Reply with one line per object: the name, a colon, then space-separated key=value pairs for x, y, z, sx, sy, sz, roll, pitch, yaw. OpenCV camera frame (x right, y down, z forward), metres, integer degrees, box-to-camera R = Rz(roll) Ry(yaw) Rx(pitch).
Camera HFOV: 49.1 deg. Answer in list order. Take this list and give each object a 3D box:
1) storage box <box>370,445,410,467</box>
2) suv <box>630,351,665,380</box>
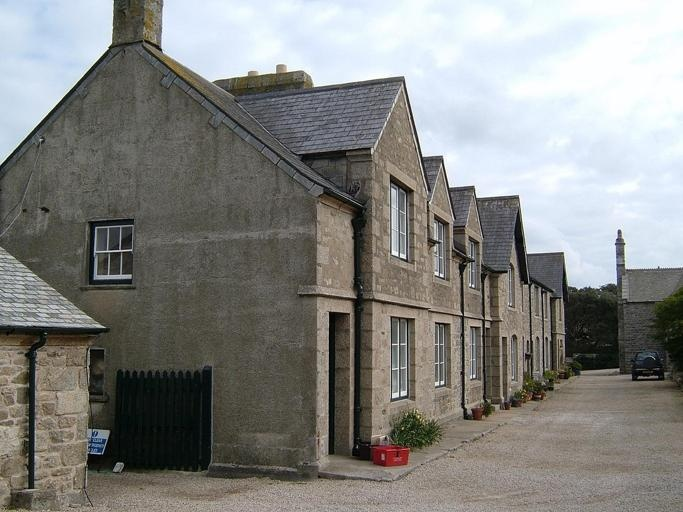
storage box: x=1.040 y=4.182 z=15.726 sx=0.776 sy=0.441 sz=0.491 roll=1 pitch=-12 yaw=-14
suv: x=18.853 y=6.763 z=46.358 sx=1.419 sy=1.326 sz=2.691 roll=-1 pitch=-5 yaw=20
